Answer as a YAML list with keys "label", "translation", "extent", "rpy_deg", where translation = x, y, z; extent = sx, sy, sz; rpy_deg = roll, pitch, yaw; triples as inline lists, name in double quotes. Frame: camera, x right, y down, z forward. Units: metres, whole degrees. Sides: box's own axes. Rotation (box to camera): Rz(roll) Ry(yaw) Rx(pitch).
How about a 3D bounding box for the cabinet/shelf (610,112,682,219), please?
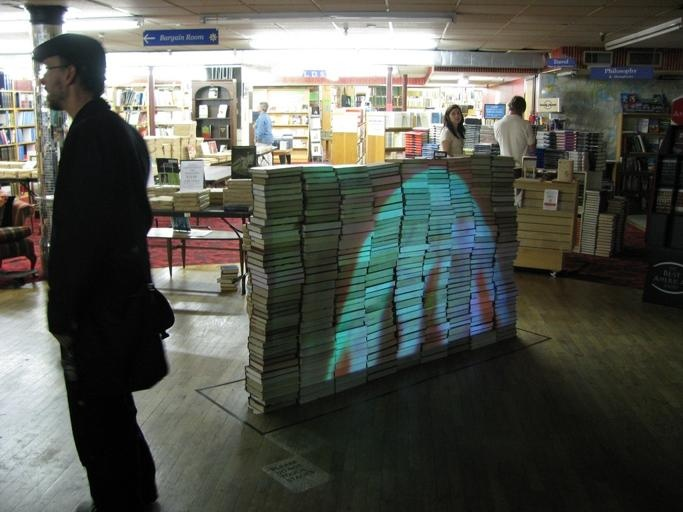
- label: "cabinet/shelf"
  translation: [7.154, -2.329, 12.044]
  extent: [0.949, 1.925, 0.429]
  rpy_deg: [8, 28, 25]

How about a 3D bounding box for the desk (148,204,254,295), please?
- label: "desk"
  translation: [-1.887, -0.265, 6.725]
  extent: [1.505, 1.164, 1.725]
  rpy_deg: [1, 9, 4]
